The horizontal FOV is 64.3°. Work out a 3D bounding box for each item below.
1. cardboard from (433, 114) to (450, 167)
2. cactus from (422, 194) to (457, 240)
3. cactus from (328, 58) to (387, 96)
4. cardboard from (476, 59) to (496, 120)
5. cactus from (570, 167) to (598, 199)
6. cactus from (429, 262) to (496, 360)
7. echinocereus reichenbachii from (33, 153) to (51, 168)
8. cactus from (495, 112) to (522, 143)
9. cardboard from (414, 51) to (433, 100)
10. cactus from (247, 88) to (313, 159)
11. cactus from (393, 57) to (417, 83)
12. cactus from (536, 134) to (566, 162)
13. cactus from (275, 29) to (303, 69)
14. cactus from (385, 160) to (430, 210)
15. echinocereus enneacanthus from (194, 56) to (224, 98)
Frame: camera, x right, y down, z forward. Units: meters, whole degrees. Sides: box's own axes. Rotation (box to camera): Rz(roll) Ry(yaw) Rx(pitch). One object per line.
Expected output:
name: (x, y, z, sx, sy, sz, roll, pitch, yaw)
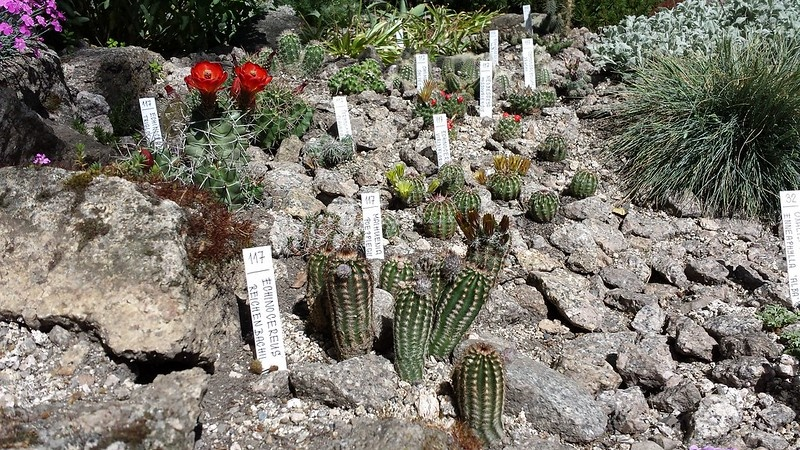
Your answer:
cardboard: (0.474, -0.974, 7.327, 0.151, 0.031, 0.612, -8, 74, 12)
cactus: (0.364, -0.102, 6.773, 0.440, 0.424, 0.419, -3, 18, -5)
cactus: (-0.563, -1.877, 8.401, 0.699, 0.380, 0.425, -32, 56, -27)
cardboard: (1.102, -1.732, 8.144, 0.248, 0.724, 0.558, 6, 48, 4)
cactus: (2.099, -0.435, 7.272, 0.328, 0.335, 0.329, 14, 49, 11)
cactus: (0.509, 0.750, 5.552, 0.421, 1.022, 0.407, 23, 23, -8)
echinocereus reichenbachii: (-3.468, -0.618, 6.135, 0.187, 0.088, 0.185, 12, 24, 22)
cactus: (1.324, -1.203, 7.894, 0.344, 0.335, 0.327, 12, 49, 9)
cardboard: (0.284, -1.997, 8.390, 0.183, 0.379, 0.403, 3, 48, 1)
cactus: (-1.366, -1.216, 7.491, 0.744, 0.707, 0.731, 8, 8, -27)
cactus: (0.064, -2.140, 8.850, 0.240, 0.216, 0.546, 6, 45, 0)
cactus: (1.792, -0.950, 7.765, 0.339, 0.320, 0.326, -2, 33, -8)
cactus: (-1.557, -2.495, 9.043, 0.495, 0.600, 0.508, 3, 14, -2)
cactus: (0.107, -0.423, 7.139, 0.479, 0.488, 0.305, 21, 22, 20)
echinocereus enneacanthus: (-1.808, -1.373, 6.000, 0.301, 0.302, 0.285, -15, 50, -15)
